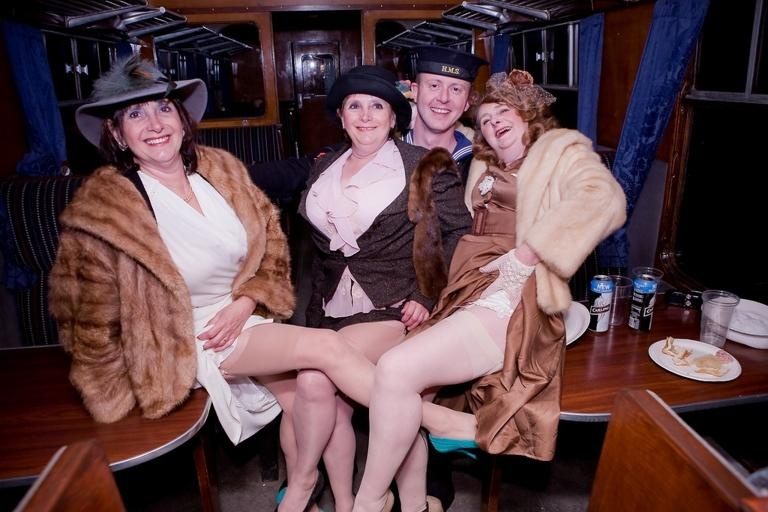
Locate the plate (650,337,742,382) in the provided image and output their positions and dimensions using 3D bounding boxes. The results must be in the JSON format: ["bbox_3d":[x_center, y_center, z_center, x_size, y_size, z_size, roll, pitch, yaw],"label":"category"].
[{"bbox_3d":[1.445,0.492,2.453,0.219,0.027,0.217,-19,26,-31],"label":"plate"}]

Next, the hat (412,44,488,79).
[{"bbox_3d":[0.391,-1.213,3.275,0.261,0.092,0.254,14,10,13],"label":"hat"}]

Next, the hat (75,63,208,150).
[{"bbox_3d":[-1.203,-0.661,2.634,0.547,0.315,0.556,-23,-5,-16],"label":"hat"}]
